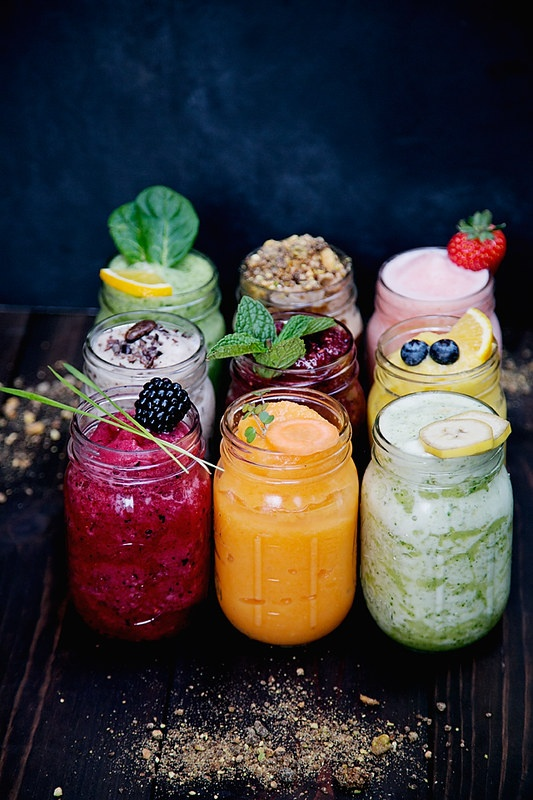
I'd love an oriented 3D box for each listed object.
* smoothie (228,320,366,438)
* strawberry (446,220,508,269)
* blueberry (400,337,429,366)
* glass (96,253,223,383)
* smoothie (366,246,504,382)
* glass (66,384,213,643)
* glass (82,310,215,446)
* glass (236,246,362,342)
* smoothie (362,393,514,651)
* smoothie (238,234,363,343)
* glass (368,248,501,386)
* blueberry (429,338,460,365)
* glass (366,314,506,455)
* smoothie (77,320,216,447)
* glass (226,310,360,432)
[{"bbox_3d":[0.047,-0.037,1.300,0.216,0.181,0.179,-1,44,2],"label":"smoothie"},{"bbox_3d":[0.358,-0.258,1.336,0.095,0.077,0.083,2,0,-20],"label":"strawberry"},{"bbox_3d":[0.217,-0.070,1.142,0.041,0.022,0.040,-36,8,12],"label":"blueberry"},{"bbox_3d":[-0.163,-0.162,1.514,0.267,0.216,0.225,1,34,0],"label":"glass"},{"bbox_3d":[0.259,-0.185,1.398,0.255,0.209,0.221,-14,36,-9],"label":"smoothie"},{"bbox_3d":[-0.186,0.187,1.072,0.212,0.266,0.180,0,11,-9],"label":"glass"},{"bbox_3d":[-0.151,-0.067,1.304,0.263,0.209,0.222,-3,37,-4],"label":"glass"},{"bbox_3d":[0.059,-0.210,1.345,0.194,0.162,0.195,21,37,38],"label":"glass"},{"bbox_3d":[0.223,0.156,1.046,0.194,0.324,0.222,-8,29,-8],"label":"smoothie"},{"bbox_3d":[0.061,-0.207,1.380,0.218,0.161,0.191,1,25,5],"label":"smoothie"},{"bbox_3d":[0.308,-0.149,1.455,0.242,0.215,0.231,-32,45,-25],"label":"glass"},{"bbox_3d":[0.257,-0.071,1.125,0.045,0.021,0.037,-6,55,6],"label":"blueberry"},{"bbox_3d":[0.256,-0.078,1.279,0.232,0.298,0.224,3,28,10],"label":"glass"},{"bbox_3d":[-0.227,-0.025,1.309,0.234,0.200,0.243,17,17,42],"label":"smoothie"},{"bbox_3d":[0.053,-0.035,1.297,0.224,0.188,0.186,-2,46,0],"label":"glass"}]
